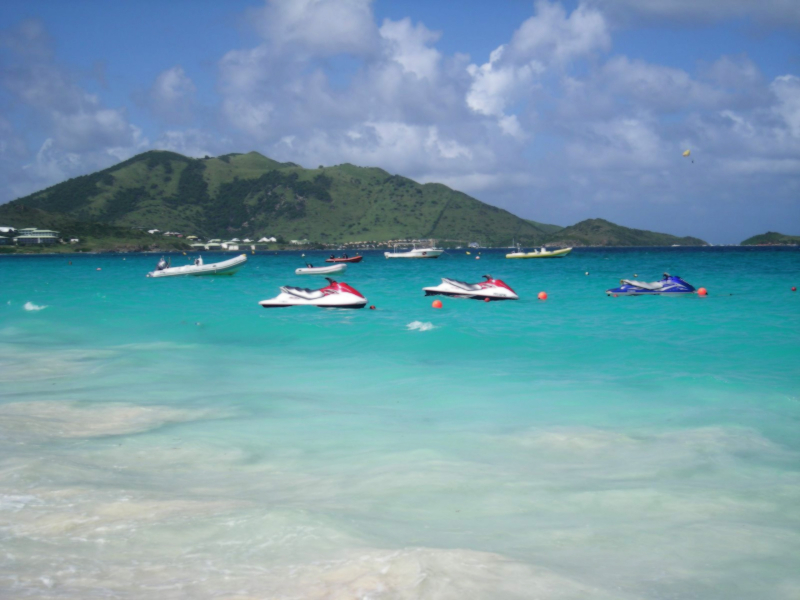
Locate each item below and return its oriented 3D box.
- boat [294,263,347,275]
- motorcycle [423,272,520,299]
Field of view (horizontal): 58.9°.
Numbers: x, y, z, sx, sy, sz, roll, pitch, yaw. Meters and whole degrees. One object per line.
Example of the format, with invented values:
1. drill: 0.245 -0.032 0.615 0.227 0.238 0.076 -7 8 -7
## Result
1. boat: -9.287 -3.756 86.349 6.440 1.741 2.641 9 12 42
2. motorcycle: 4.537 -0.821 44.280 5.636 1.085 2.035 -1 -1 14
